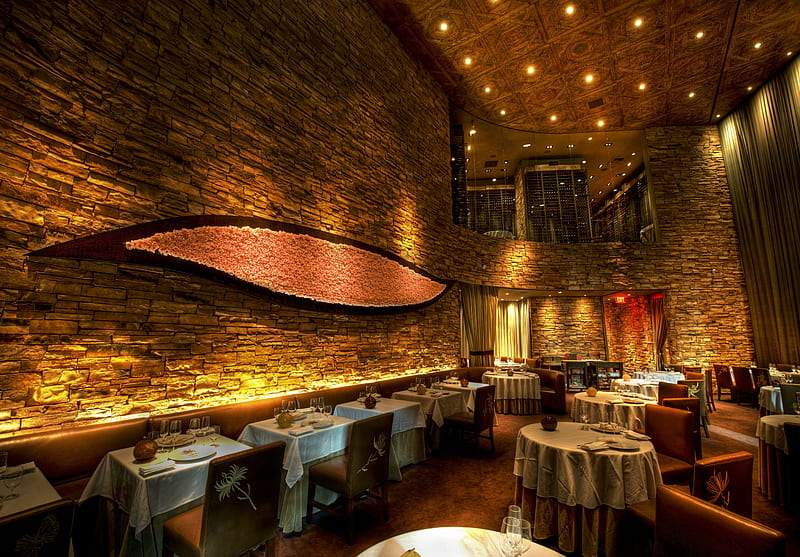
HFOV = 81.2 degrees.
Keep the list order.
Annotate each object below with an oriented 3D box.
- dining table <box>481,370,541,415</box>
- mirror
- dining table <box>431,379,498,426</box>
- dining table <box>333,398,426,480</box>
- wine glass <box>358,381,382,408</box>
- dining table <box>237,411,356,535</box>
[{"bbox_3d":[2.275,2.279,9.232,1.336,0.612,1.187,-1,-6,17],"label":"dining table"},{"bbox_3d":[3.972,-2.532,12.684,4.615,1.174,4.122,0,0,-21],"label":"mirror"},{"bbox_3d":[0.955,1.924,7.263,0.941,0.463,0.705,-2,-5,39],"label":"dining table"},{"bbox_3d":[-0.158,2.090,6.601,1.326,0.801,1.301,-5,-8,37],"label":"dining table"},{"bbox_3d":[-0.408,1.678,6.605,0.273,0.209,0.166,6,-27,-15],"label":"wine glass"},{"bbox_3d":[-1.426,2.253,5.703,1.382,0.730,1.300,1,-2,35],"label":"dining table"}]
